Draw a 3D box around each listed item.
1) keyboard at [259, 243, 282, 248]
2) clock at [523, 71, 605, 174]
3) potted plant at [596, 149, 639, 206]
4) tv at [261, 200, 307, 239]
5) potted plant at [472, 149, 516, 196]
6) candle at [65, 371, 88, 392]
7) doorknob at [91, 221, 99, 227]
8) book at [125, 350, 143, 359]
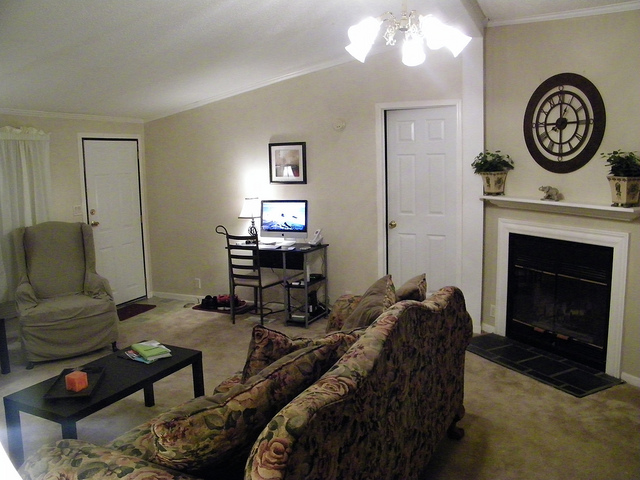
[{"bbox_3d":[-0.614,0.074,5.899,0.267,0.022,0.237,-1,5,1],"label":"keyboard"},{"bbox_3d":[2.212,-1.059,4.381,0.045,0.888,0.728,-6,7,-34],"label":"clock"},{"bbox_3d":[2.465,-0.523,3.959,0.247,0.478,0.330,-6,8,-38],"label":"potted plant"},{"bbox_3d":[-0.405,-0.245,5.999,0.731,0.523,0.228,4,10,34],"label":"tv"},{"bbox_3d":[1.765,-0.695,4.894,0.220,0.489,0.355,-6,8,-36],"label":"potted plant"},{"bbox_3d":[-1.648,0.960,3.246,0.137,0.104,0.122,1,10,3],"label":"candle"},{"bbox_3d":[-2.862,-0.202,6.110,0.029,0.073,0.106,1,6,23],"label":"doorknob"},{"bbox_3d":[-1.468,0.902,3.779,0.069,0.019,0.067,9,9,37],"label":"book"}]
